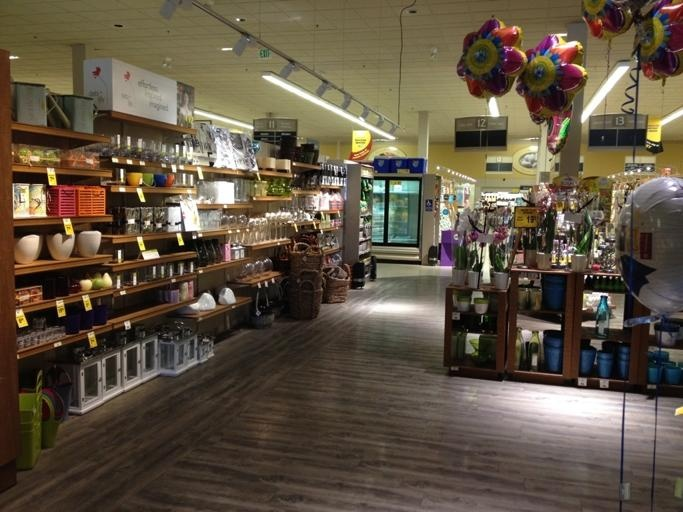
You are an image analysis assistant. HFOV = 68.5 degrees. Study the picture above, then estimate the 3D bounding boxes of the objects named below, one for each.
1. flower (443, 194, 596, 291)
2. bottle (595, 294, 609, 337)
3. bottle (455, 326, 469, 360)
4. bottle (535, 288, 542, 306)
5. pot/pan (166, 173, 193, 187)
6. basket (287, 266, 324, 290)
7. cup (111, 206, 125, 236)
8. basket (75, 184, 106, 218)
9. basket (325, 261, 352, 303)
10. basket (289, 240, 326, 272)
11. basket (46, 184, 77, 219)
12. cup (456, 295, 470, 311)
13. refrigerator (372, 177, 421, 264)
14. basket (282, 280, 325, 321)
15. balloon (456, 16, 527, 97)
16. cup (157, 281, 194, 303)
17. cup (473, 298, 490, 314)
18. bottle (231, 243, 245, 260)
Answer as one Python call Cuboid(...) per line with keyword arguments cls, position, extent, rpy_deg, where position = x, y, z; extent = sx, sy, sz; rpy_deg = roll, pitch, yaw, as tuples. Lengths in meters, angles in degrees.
Cuboid(cls="flower", position=(1.989, -0.113, 5.854), extent=(1.465, 0.553, 1.012), rpy_deg=(-1, -1, -27))
Cuboid(cls="bottle", position=(2.935, 0.635, 5.572), extent=(0.145, 0.416, 0.473), rpy_deg=(6, 10, 29))
Cuboid(cls="bottle", position=(1.421, 1.032, 5.916), extent=(0.219, 0.358, 0.404), rpy_deg=(0, 2, 11))
Cuboid(cls="bottle", position=(2.232, 0.483, 5.652), extent=(0.090, 0.202, 0.091), rpy_deg=(1, 9, 0))
Cuboid(cls="pot/pan", position=(-1.827, -0.843, 5.732), extent=(0.218, 0.085, 0.211), rpy_deg=(0, 2, 32))
Cuboid(cls="basket", position=(-0.585, 0.374, 7.909), extent=(0.459, 0.373, 0.314), rpy_deg=(0, 0, 3))
Cuboid(cls="cup", position=(-2.236, -0.350, 4.997), extent=(0.125, 0.258, 0.072), rpy_deg=(-3, 10, -23))
Cuboid(cls="basket", position=(-2.303, -0.491, 4.564), extent=(0.207, 0.289, 0.331), rpy_deg=(4, 4, 22))
Cuboid(cls="basket", position=(-0.095, 0.570, 9.522), extent=(0.547, 0.606, 0.673), rpy_deg=(1, 0, 1))
Cuboid(cls="basket", position=(-0.549, 0.023, 8.171), extent=(0.560, 0.442, 0.469), rpy_deg=(1, 3, 1))
Cuboid(cls="basket", position=(-2.431, -0.465, 4.338), extent=(0.234, 0.268, 0.138), rpy_deg=(-3, 10, -26))
Cuboid(cls="cup", position=(1.423, 0.562, 5.802), extent=(0.161, 0.115, 0.165), rpy_deg=(1, -2, 0))
Cuboid(cls="refrigerator", position=(1.671, -1.126, 15.084), extent=(1.514, 2.534, 0.638), rpy_deg=(3, 9, 11))
Cuboid(cls="basket", position=(-0.594, 0.718, 7.923), extent=(0.720, 0.628, 0.526), rpy_deg=(1, 4, -3))
Cuboid(cls="balloon", position=(1.671, -2.208, 5.572), extent=(0.724, 0.837, 0.351), rpy_deg=(5, 10, 24))
Cuboid(cls="cup", position=(-1.913, 0.426, 5.810), extent=(0.203, 0.143, 0.342), rpy_deg=(0, 0, 30))
Cuboid(cls="cup", position=(1.608, 0.579, 5.721), extent=(0.179, 0.127, 0.176), rpy_deg=(1, -8, 0))
Cuboid(cls="bottle", position=(-1.433, -0.061, 7.041), extent=(0.186, 0.207, 0.314), rpy_deg=(4, 4, 22))
